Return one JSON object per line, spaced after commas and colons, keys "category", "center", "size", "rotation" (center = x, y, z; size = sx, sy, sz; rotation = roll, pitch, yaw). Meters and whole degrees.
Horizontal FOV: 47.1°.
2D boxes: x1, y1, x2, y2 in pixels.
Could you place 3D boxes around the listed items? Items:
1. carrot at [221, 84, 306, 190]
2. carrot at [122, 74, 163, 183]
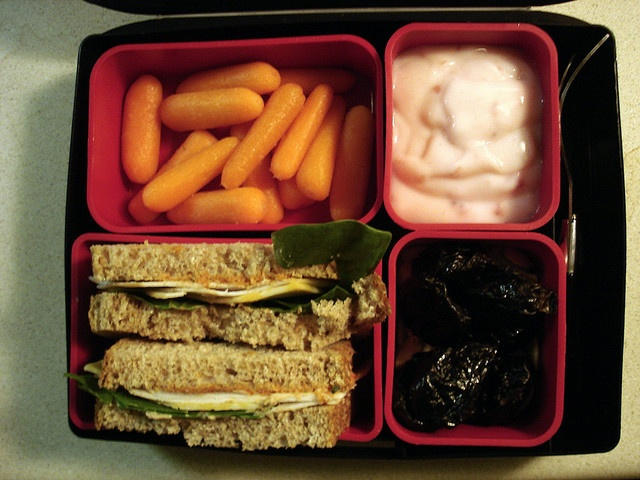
{"category": "carrot", "center": [-0.218, -0.386, 2.724], "size": [0.119, 0.127, 0.452], "rotation": [36, 78, 9]}
{"category": "carrot", "center": [-0.660, -0.427, 2.837], "size": [0.116, 0.159, 0.418], "rotation": [7, 86, 21]}
